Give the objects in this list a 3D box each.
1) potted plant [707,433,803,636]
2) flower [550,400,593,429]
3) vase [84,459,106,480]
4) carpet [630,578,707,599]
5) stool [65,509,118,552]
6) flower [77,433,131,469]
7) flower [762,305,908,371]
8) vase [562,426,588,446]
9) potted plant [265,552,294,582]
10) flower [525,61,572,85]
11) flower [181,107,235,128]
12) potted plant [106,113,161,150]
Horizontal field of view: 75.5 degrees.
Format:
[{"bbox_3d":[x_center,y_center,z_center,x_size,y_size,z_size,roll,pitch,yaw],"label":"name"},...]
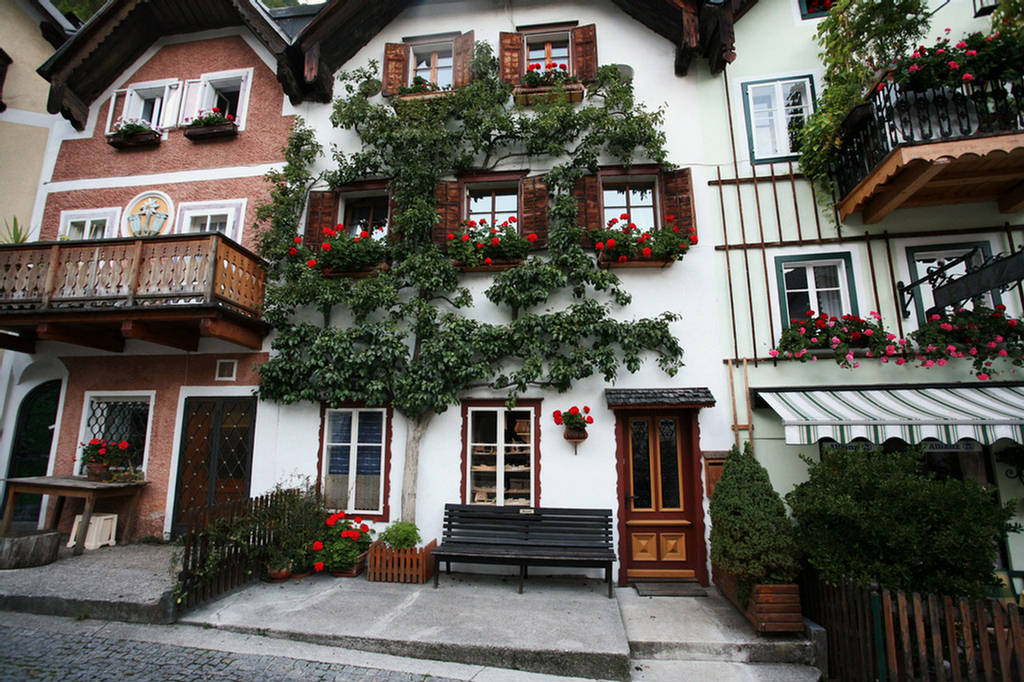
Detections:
[{"bbox_3d":[4.690,3.897,12.864,1.516,3.093,3.136,0,-8,3],"label":"potted plant"},{"bbox_3d":[1.385,1.630,14.985,0.606,0.384,0.609,1,-1,19],"label":"flower"},{"bbox_3d":[-9.961,3.070,15.883,0.487,0.441,0.492,-9,-16,38],"label":"vase"},{"bbox_3d":[3.356,5.253,14.104,1.512,0.119,0.664,2,12,0],"label":"carpet"},{"bbox_3d":[-10.074,4.467,15.817,0.989,0.939,0.921,-4,-7,28],"label":"stool"},{"bbox_3d":[-9.753,2.719,16.003,1.045,0.721,0.880,12,-16,-43],"label":"flower"},{"bbox_3d":[7.134,-0.061,14.827,2.398,1.098,0.454,5,12,13],"label":"flower"},{"bbox_3d":[1.431,2.118,14.969,0.443,0.358,0.448,-4,-7,26],"label":"vase"},{"bbox_3d":[-4.897,4.789,14.061,0.503,0.388,0.505,1,-3,8],"label":"potted plant"},{"bbox_3d":[0.909,-6.672,16.542,0.960,0.418,0.752,1,12,4],"label":"flower"},{"bbox_3d":[-7.835,-5.867,17.366,0.770,0.353,1.037,7,9,35],"label":"flower"},{"bbox_3d":[-10.036,-5.537,17.662,1.319,0.893,0.454,2,3,-3],"label":"potted plant"}]
